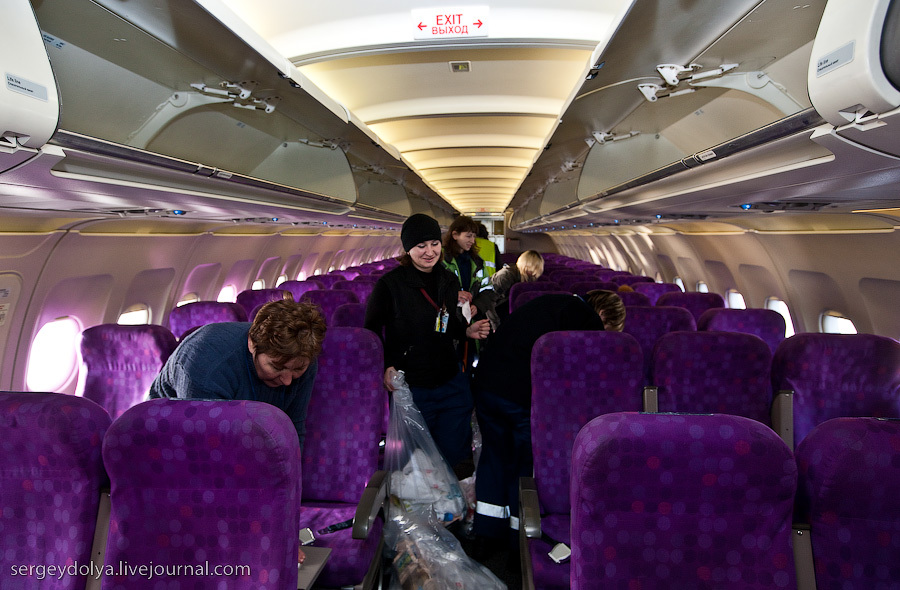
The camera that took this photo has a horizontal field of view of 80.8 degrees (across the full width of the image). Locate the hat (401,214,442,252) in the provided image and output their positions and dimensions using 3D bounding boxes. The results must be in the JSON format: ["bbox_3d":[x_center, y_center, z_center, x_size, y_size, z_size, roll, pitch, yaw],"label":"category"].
[{"bbox_3d":[-0.248,-0.436,3.907,0.284,0.230,0.269,-14,-1,16],"label":"hat"}]
